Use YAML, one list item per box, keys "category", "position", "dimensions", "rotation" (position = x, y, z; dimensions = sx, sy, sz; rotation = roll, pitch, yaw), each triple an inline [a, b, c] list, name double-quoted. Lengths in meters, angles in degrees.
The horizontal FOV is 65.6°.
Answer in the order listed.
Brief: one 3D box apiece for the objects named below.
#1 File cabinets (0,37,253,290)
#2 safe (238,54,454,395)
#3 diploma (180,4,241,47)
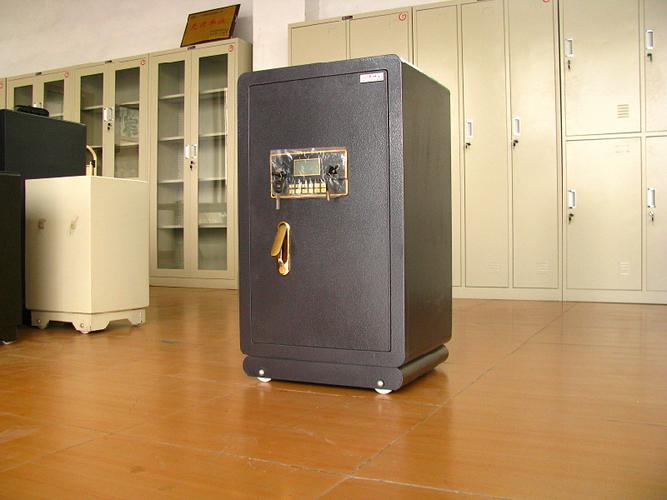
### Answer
- category: "File cabinets"
  position: [-2.246, -0.938, 6.103]
  dimensions: [2.813, 2.646, 0.325]
  rotation: [0, 1, 28]
- category: "safe"
  position: [0.079, -0.106, 2.077]
  dimensions: [0.682, 1.175, 0.641]
  rotation: [1, 3, 20]
- category: "diploma"
  position: [-1.433, -2.572, 5.969]
  dimensions: [0.911, 0.562, 0.359]
  rotation: [4, 9, 29]
